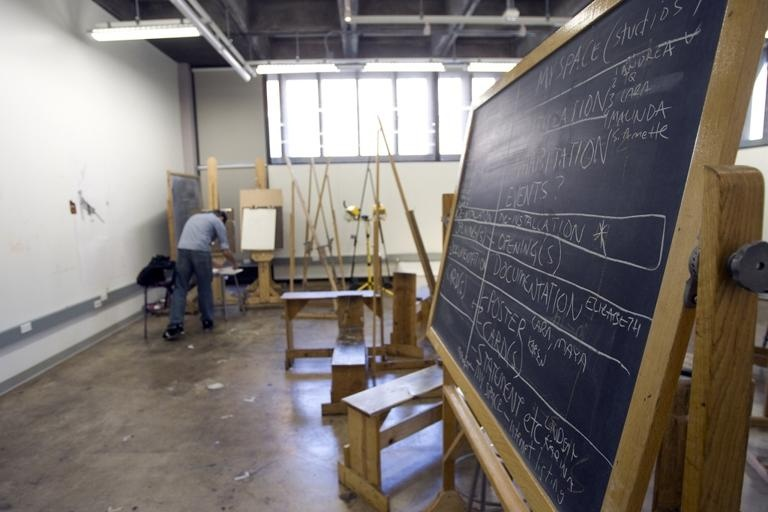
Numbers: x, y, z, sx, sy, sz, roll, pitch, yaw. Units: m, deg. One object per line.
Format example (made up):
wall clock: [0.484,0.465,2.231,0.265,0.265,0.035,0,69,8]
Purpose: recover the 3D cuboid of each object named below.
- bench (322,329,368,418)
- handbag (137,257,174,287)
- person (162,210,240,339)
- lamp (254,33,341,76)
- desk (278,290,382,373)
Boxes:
bench: [-0.268,0.946,4.581,0.388,0.422,1.094,-3,5,-3]
handbag: [-2.497,0.129,6.052,0.309,0.186,0.411,-2,8,-2]
person: [-2.047,0.196,5.923,0.770,1.285,0.404,-5,10,-25]
lamp: [-1.190,-2.563,7.311,1.000,0.320,1.043,-3,10,-13]
desk: [-0.503,0.718,5.065,0.665,0.614,0.256,0,0,-5]
